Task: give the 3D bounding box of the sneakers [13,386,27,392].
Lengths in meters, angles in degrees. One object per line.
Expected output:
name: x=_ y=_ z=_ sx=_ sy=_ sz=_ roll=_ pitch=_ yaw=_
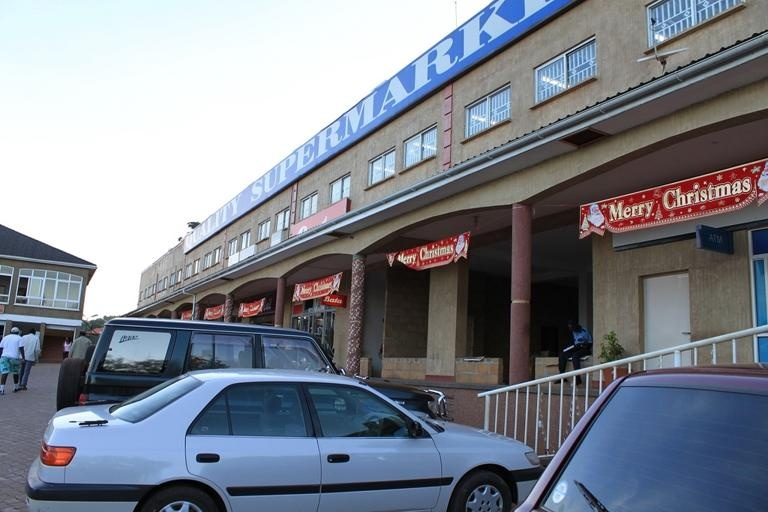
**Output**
sneakers: x=-12.665 y=4.558 z=18.690 sx=0.447 sy=0.176 sz=0.148 roll=-15 pitch=-11 yaw=31
